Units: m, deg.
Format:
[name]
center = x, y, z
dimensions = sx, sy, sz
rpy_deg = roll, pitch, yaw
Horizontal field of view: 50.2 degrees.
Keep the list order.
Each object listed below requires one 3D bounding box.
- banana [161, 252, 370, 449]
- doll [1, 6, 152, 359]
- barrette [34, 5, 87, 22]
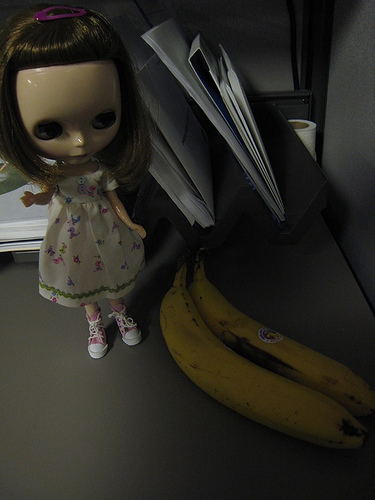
[banana]
center = 0.071, 0.178, 0.673
dimensions = 0.143, 0.104, 0.431
rpy_deg = -36, 46, -17
[doll]
center = -0.225, -0.091, 0.802
dimensions = 0.279, 0.658, 0.261
rpy_deg = -14, 45, -35
[barrette]
center = -0.167, -0.309, 0.524
dimensions = 0.058, 0.008, 0.035
rpy_deg = -8, 47, -15
